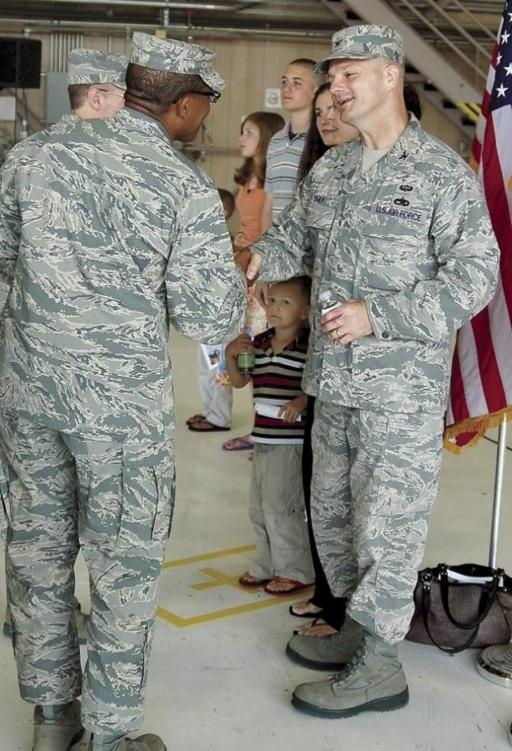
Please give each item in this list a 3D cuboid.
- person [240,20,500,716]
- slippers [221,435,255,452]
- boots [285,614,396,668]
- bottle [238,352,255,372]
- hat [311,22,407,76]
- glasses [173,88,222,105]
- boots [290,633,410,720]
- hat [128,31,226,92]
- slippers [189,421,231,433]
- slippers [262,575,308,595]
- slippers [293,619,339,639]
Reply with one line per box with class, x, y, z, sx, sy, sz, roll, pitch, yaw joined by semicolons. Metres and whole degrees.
person;0.266;-0.018;2.037;0.467;1.748;0.628;0;11;-20
slippers;-0.090;0.378;4.410;0.124;0.063;0.310;1;2;37
boots;0.226;0.762;2.234;0.338;0.186;0.117;6;6;0
bottle;-0.033;-0.052;2.671;0.074;0.067;0.066;-1;10;-8
hat;0.271;-0.826;1.862;0.187;0.060;0.126;0;5;-13
glasses;-0.114;-0.572;1.516;0.078;0.020;0.069;-8;23;-11
boots;0.191;0.786;1.993;0.386;0.227;0.143;1;3;-6
hat;-0.140;-0.627;1.496;0.181;0.054;0.116;7;21;-32
slippers;-0.297;0.315;4.751;0.192;0.038;0.096;3;1;-34
slippers;0.099;0.737;2.628;0.138;0.029;0.058;3;0;-24
slippers;0.185;0.767;2.292;0.062;0.041;0.145;-14;-13;41
